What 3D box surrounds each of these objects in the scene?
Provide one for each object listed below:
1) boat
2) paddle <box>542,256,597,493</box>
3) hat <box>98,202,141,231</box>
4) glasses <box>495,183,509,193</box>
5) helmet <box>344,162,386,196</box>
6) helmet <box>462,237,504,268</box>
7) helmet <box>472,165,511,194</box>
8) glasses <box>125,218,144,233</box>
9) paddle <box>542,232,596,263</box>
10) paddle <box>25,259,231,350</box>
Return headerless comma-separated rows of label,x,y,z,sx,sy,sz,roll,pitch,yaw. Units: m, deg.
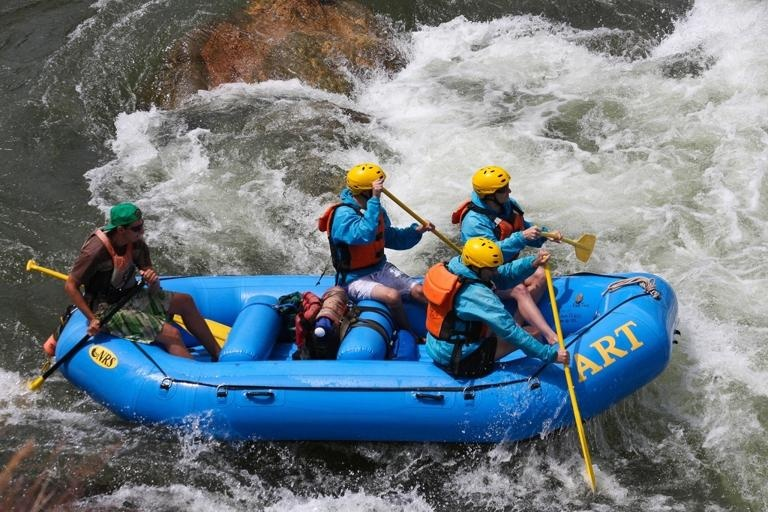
boat,-0.109,1.449,13.137,6.653,1.332,3.112,1,41,3
paddle,2.388,1.644,13.048,0.233,0.155,3.036,-15,79,12
hat,-3.346,-0.466,12.812,0.525,0.277,0.344,-15,35,5
glasses,1.573,-0.881,13.449,0.132,0.121,0.108,-25,35,21
helmet,-0.233,-1.018,13.647,0.475,0.298,0.363,-2,37,-8
helmet,1.228,0.022,12.655,0.442,0.291,0.321,18,50,1
helmet,1.436,-1.029,13.512,0.438,0.328,0.347,8,20,16
glasses,-3.136,-0.371,12.751,0.194,0.058,0.185,-4,24,18
paddle,2.586,-0.133,13.571,0.156,0.353,0.917,-3,18,-35
paddle,-3.855,0.530,14.561,4.362,0.641,0.333,13,53,29
